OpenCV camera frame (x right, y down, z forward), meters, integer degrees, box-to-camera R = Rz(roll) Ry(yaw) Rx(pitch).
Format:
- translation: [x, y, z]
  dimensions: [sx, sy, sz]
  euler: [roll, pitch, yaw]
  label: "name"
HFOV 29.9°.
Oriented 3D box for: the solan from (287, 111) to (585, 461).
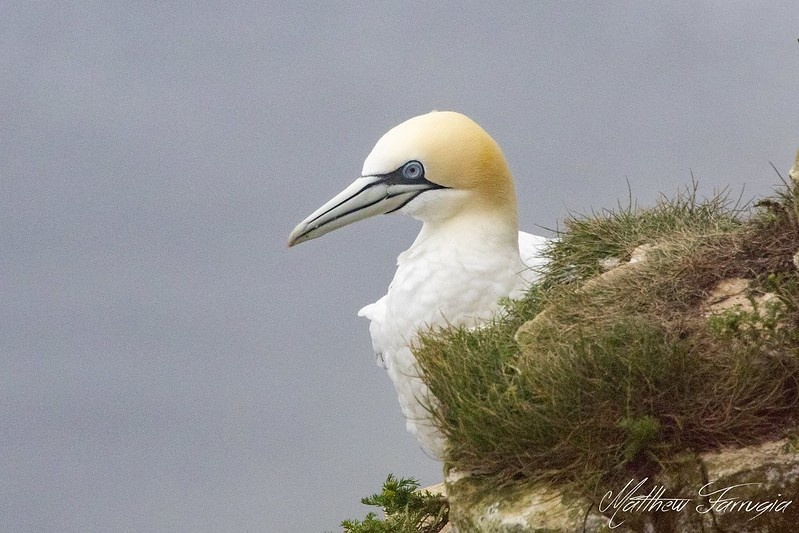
- translation: [0.178, 0.071, 6.234]
  dimensions: [0.898, 1.300, 0.515]
  euler: [-28, -29, 15]
  label: "solan"
